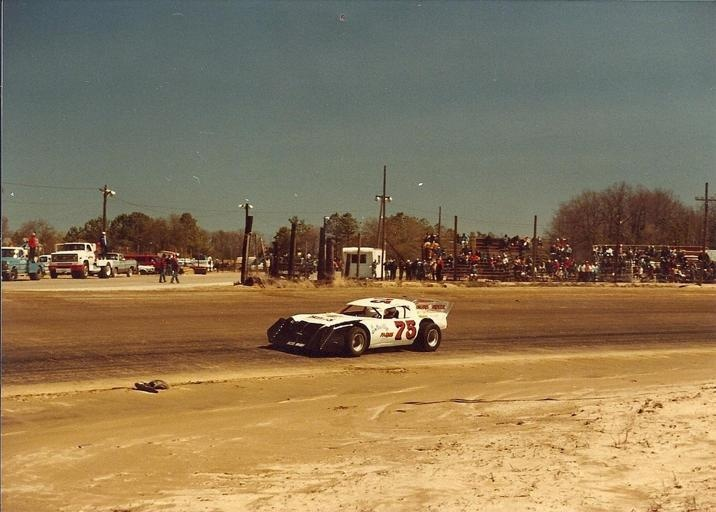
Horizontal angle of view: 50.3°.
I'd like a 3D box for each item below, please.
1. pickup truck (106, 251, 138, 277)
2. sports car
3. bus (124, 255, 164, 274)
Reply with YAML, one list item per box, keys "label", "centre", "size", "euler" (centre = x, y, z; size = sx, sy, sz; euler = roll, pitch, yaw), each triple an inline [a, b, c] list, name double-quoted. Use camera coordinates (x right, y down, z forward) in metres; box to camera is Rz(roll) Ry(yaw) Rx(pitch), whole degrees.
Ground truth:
- label: "pickup truck"
  centre: [-17.804, 0.655, 56.724]
  size: [1.603, 1.102, 3.192]
  euler: [1, 4, 12]
- label: "sports car"
  centre: [0.110, 1.968, 21.339]
  size: [4.610, 1.538, 1.846]
  euler: [-2, 6, -36]
- label: "bus"
  centre: [-19.768, 0.741, 71.646]
  size: [4.402, 2.117, 2.617]
  euler: [-1, 1, 32]
